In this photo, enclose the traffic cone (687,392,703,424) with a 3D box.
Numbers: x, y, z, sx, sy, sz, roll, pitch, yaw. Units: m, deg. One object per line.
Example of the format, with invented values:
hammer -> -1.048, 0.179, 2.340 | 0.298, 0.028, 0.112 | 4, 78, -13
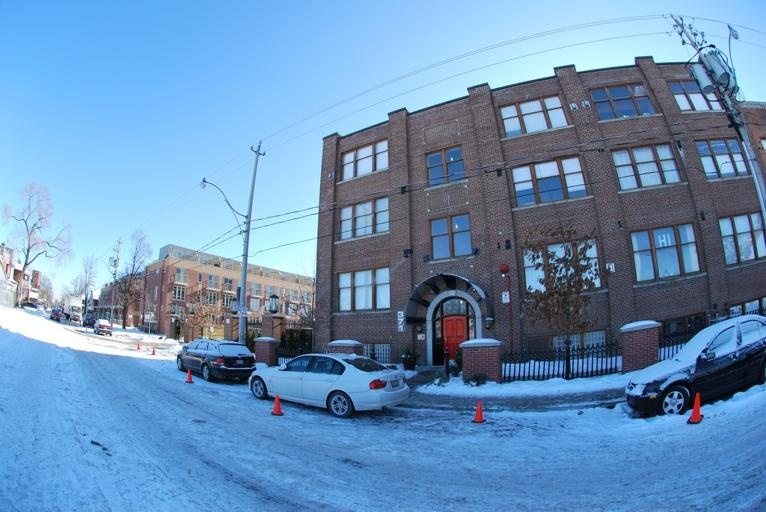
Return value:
traffic cone -> 8.195, 3.936, 12.492 | 0.321, 0.765, 0.918 | 0, 0, 34
